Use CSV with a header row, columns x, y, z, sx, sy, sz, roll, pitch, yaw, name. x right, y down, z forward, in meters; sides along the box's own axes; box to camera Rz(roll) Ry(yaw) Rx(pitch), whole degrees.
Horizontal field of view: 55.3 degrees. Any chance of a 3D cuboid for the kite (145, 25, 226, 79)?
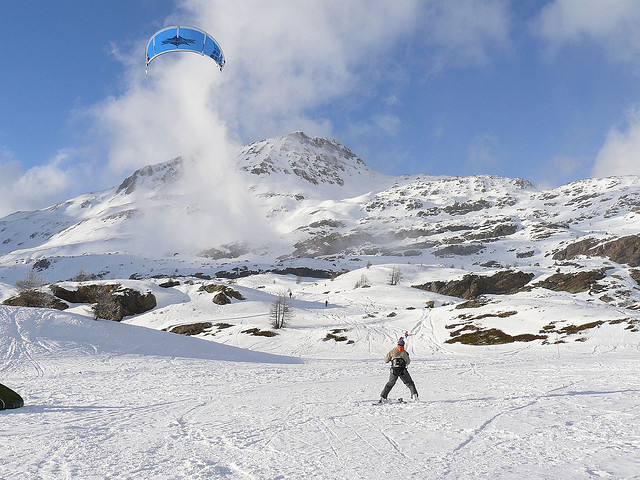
x,y,z,sx,sy,sz,roll,pitch,yaw,name
-13.526,-19.223,60.619,6.975,4.825,1.903,2,0,-11,kite
